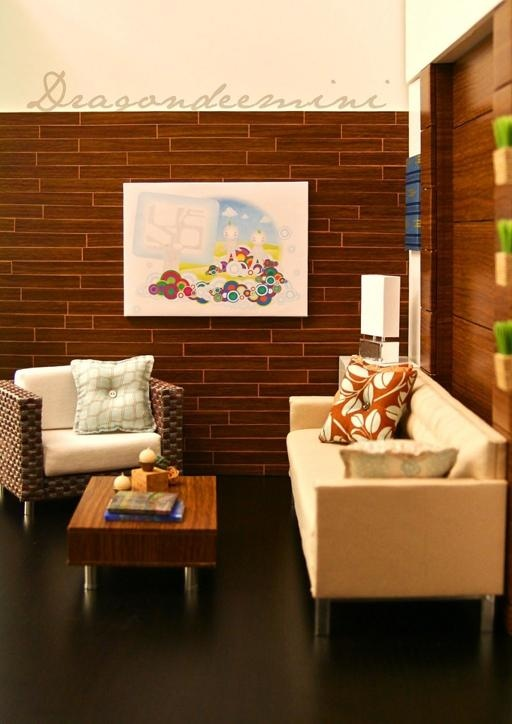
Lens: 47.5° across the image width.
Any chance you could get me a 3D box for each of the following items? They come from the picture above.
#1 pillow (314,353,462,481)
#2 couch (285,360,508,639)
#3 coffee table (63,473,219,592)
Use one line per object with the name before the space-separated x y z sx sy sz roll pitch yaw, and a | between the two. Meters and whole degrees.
pillow | 0.551 0.245 3.055 0.190 0.481 0.633 19 3 -20
couch | 0.613 0.212 2.491 0.748 0.750 1.667 1 6 5
coffee table | -0.522 0.716 2.695 0.465 0.223 0.675 0 3 -3
